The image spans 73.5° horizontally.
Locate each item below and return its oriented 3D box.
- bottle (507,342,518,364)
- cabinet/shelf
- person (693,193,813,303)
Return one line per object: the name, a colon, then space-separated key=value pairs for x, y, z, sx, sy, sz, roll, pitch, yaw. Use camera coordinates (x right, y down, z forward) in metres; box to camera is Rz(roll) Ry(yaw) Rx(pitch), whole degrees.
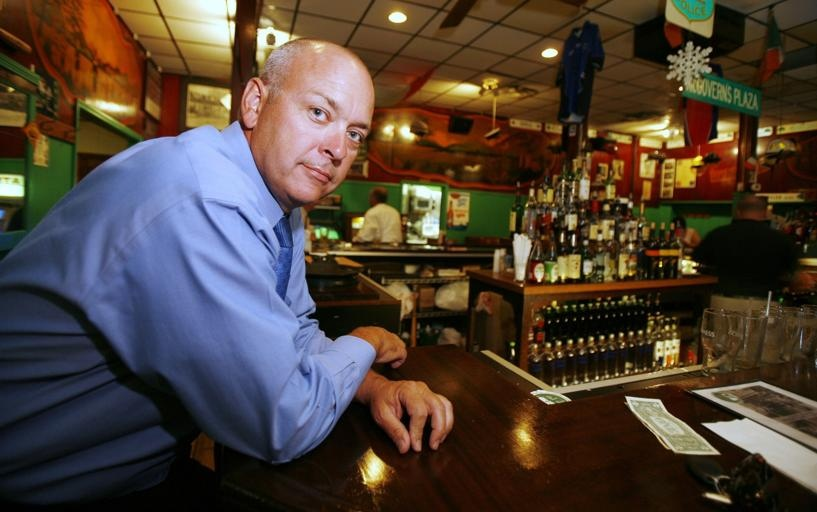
bottle: x=0.805 y=0.723 z=4.216 sx=0.028 sy=0.181 sz=0.159 roll=2 pitch=4 yaw=-10
cabinet/shelf: x=0.273 y=0.466 z=5.788 sx=1.451 sy=1.003 sz=0.797 roll=0 pitch=0 yaw=-14
person: x=3.331 y=-0.118 z=5.332 sx=0.974 sy=1.072 sz=2.153 roll=6 pitch=5 yaw=39
